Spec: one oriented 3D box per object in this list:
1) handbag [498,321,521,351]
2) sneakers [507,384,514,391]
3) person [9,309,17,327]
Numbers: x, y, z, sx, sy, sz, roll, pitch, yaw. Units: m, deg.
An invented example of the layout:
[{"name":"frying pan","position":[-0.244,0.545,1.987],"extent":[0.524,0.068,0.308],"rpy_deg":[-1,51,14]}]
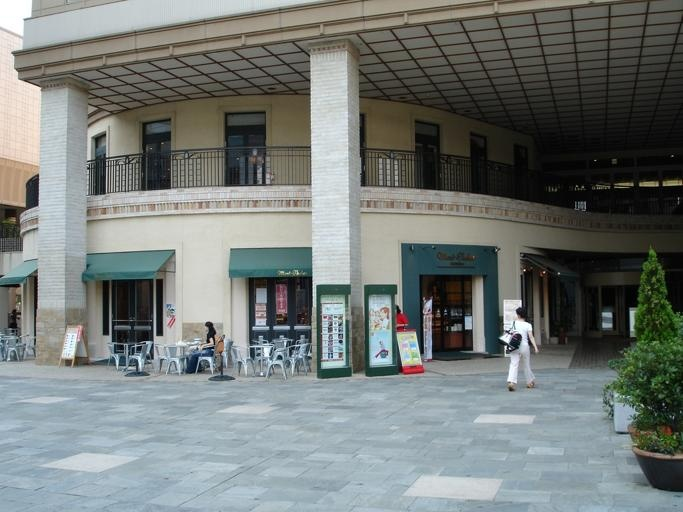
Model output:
[{"name":"handbag","position":[4.158,2.001,15.761],"extent":[0.469,0.726,0.660],"rpy_deg":[-1,1,-4]},{"name":"sneakers","position":[4.079,3.121,15.502],"extent":[0.139,0.212,0.307],"rpy_deg":[-1,1,17]},{"name":"person","position":[-17.730,3.281,34.685],"extent":[0.386,0.811,1.227],"rpy_deg":[-2,1,-28]}]
